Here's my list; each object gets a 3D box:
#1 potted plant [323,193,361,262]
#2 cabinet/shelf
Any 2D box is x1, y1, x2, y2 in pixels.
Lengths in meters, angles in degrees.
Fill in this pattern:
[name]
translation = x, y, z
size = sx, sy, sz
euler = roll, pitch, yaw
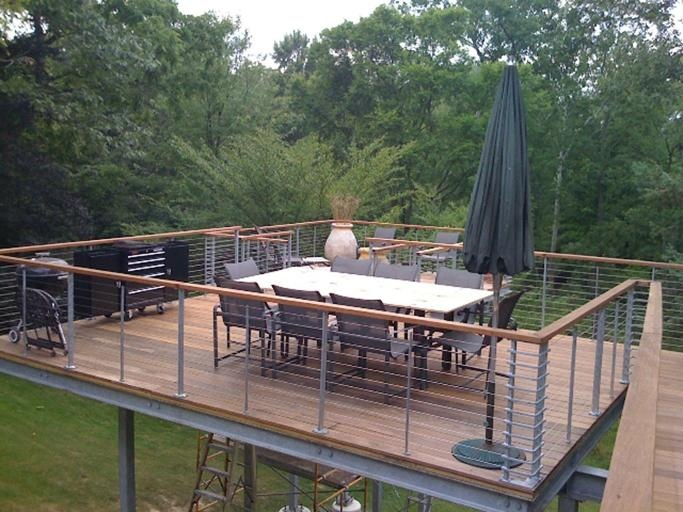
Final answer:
[potted plant]
translation = 0.024, -0.527, 14.440
size = 0.721, 1.389, 0.671
euler = 1, 7, -21
[cabinet/shelf]
translation = -3.408, 0.350, 11.342
size = 0.542, 1.260, 1.995
euler = 11, 13, 32
